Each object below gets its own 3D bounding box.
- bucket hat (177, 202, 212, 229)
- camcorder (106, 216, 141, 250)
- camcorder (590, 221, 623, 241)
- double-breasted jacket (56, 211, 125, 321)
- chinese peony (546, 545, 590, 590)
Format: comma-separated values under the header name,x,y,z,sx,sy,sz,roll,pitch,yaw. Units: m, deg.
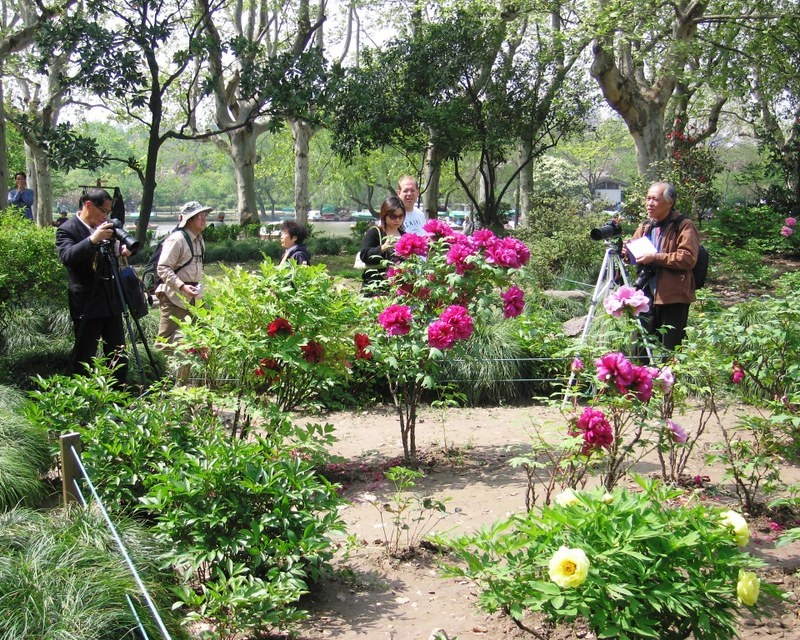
name,x,y,z,sx,sy,sz,roll,pitch,yaw
bucket hat,-2.086,-1.060,7.355,0.336,0.175,0.327,-22,0,43
camcorder,-2.344,-0.745,6.310,0.153,0.241,0.563,-15,40,-27
camcorder,1.880,-0.825,6.839,0.262,0.151,0.271,2,8,41
double-breasted jacket,-2.783,-0.458,6.537,0.435,0.931,0.400,2,6,7
chinese peony,0.774,1.145,3.360,0.176,0.221,0.183,3,7,16
